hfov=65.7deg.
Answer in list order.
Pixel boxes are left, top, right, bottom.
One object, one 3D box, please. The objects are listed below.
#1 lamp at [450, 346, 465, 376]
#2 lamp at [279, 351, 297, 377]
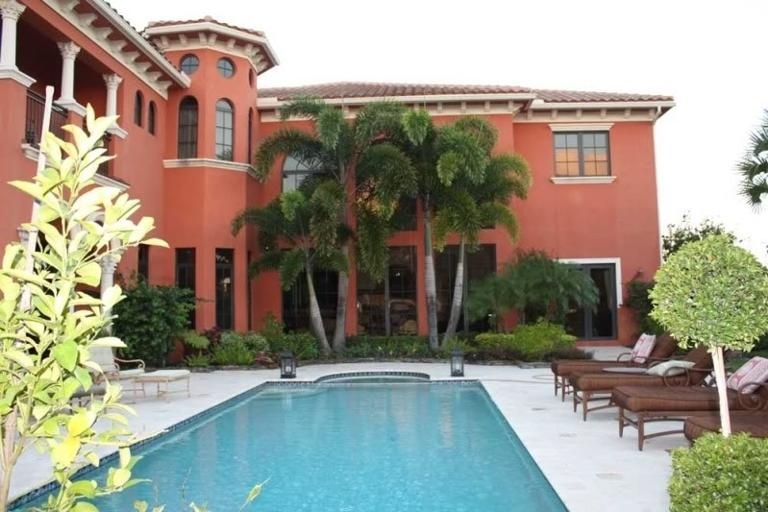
[{"bbox_3d":[1.758,2.603,14.612,0.490,0.779,0.556,0,-7,-3],"label":"lamp"},{"bbox_3d":[-2.294,2.597,14.305,0.326,0.647,0.316,-1,0,-17],"label":"lamp"}]
